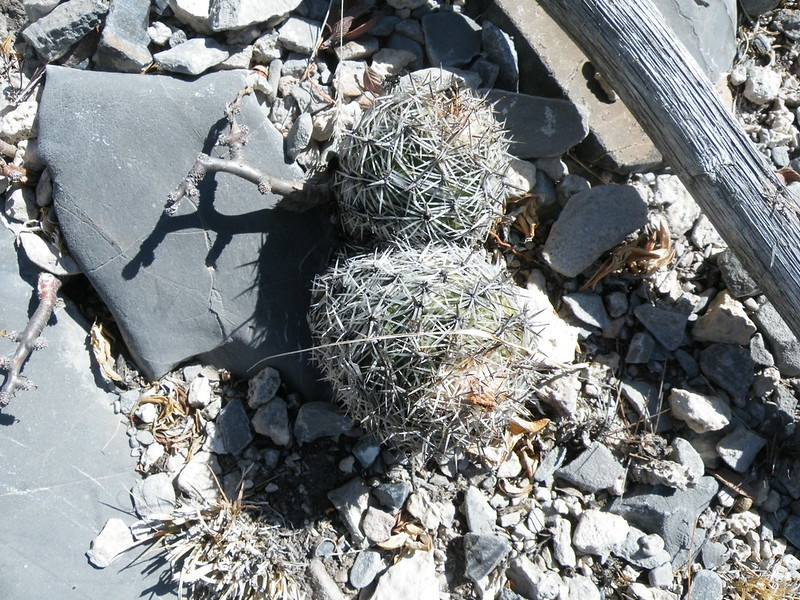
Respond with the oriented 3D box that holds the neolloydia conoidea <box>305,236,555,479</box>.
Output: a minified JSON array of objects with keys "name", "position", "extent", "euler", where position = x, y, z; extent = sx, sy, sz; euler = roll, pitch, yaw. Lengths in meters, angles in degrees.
[{"name":"neolloydia conoidea","position":[0.059,0.209,3.745],"extent":[0.850,0.828,0.930],"euler":[28,103,5]}]

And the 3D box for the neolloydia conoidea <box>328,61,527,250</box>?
[{"name":"neolloydia conoidea","position":[0.078,-0.571,3.798],"extent":[0.682,0.794,0.804],"euler":[5,44,-14]}]
